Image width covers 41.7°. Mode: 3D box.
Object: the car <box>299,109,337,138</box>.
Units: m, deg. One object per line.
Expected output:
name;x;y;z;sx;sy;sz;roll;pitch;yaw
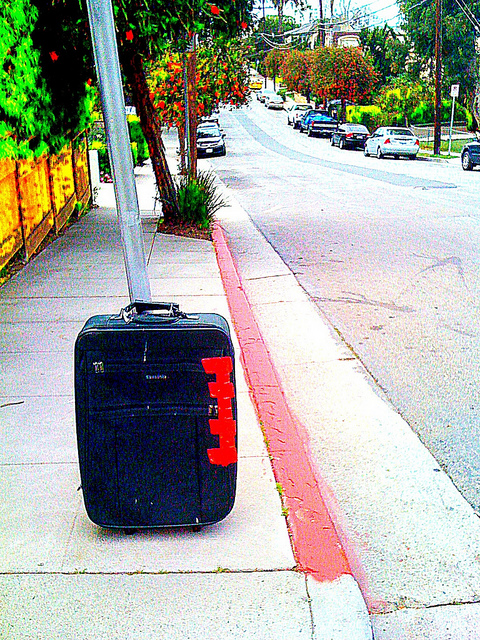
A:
car;6.239;-15.528;49.839;1.940;2.550;5.078;2;11;-4

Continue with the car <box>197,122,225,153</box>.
car;-1.687;-10.166;35.476;1.429;1.686;2.624;2;11;-5

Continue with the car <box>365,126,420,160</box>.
car;7.969;-9.385;33.324;1.306;1.153;3.036;2;21;0

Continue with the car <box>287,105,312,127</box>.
car;5.516;-18.582;57.242;1.742;1.395;3.413;-2;31;-1

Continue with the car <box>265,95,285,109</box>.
car;4.474;-28.817;83.349;1.971;2.089;3.119;0;11;-17

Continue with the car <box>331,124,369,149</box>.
car;7.089;-11.628;40.063;1.595;1.642;2.226;0;11;-13

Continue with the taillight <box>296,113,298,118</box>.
taillight;5.045;-17.943;55.362;0.092;0.385;0.250;-1;11;-17

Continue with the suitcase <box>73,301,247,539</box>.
suitcase;-0.405;0.590;2.902;0.708;0.570;1.078;1;59;-13
